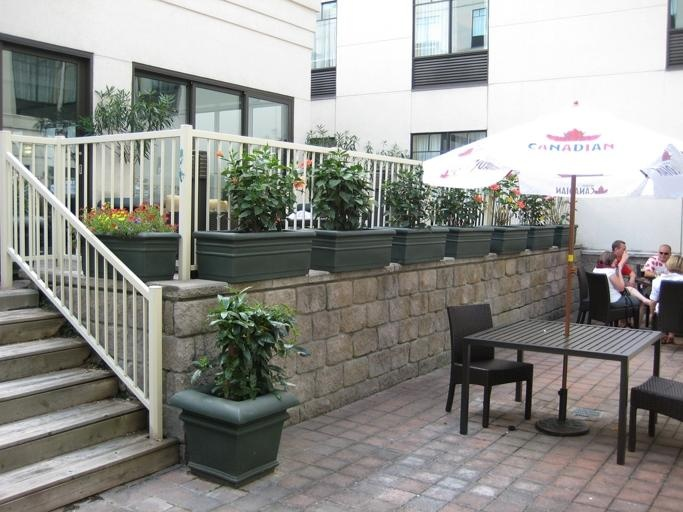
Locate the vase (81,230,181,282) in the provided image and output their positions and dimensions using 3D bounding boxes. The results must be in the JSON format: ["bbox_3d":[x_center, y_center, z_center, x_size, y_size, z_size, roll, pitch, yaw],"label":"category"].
[{"bbox_3d":[-1.613,0.009,4.426,0.612,0.276,0.385,-1,-1,37],"label":"vase"}]

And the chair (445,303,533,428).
[{"bbox_3d":[1.374,0.997,5.189,0.573,0.961,0.578,-3,4,-38],"label":"chair"}]

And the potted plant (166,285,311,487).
[{"bbox_3d":[-0.800,0.992,4.178,0.844,1.324,0.861,1,-3,29],"label":"potted plant"}]

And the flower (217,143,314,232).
[{"bbox_3d":[-0.729,-0.493,4.942,0.832,0.832,0.707,-1,1,-40],"label":"flower"}]

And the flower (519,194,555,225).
[{"bbox_3d":[3.576,-0.837,9.921,0.580,0.741,0.779,5,6,40],"label":"flower"}]

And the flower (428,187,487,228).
[{"bbox_3d":[1.602,-0.678,7.699,0.775,0.667,0.543,-1,3,-30],"label":"flower"}]

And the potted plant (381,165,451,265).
[{"bbox_3d":[0.780,-0.503,6.728,0.795,1.168,0.854,3,5,35],"label":"potted plant"}]

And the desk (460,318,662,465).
[{"bbox_3d":[2.193,1.184,5.038,1.262,0.815,1.347,3,10,35],"label":"desk"}]

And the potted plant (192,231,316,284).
[{"bbox_3d":[-0.711,0.004,4.638,0.997,0.420,0.385,-3,7,-37],"label":"potted plant"}]

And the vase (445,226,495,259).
[{"bbox_3d":[1.718,-0.185,7.345,0.428,0.311,0.709,2,3,42],"label":"vase"}]

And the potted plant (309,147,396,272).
[{"bbox_3d":[0.108,-0.452,5.532,0.848,1.236,0.559,0,6,-9],"label":"potted plant"}]

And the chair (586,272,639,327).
[{"bbox_3d":[4.123,0.744,8.340,0.751,0.964,0.702,-2,0,-29],"label":"chair"}]
